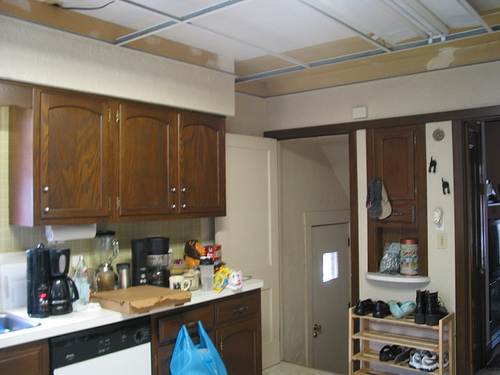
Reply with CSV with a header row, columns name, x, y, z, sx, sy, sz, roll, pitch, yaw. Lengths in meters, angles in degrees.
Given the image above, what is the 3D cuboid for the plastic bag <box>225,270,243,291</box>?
name,x,y,z,sx,sy,sz,roll,pitch,yaw
plastic bag,-0.148,0.819,3.392,0.150,0.164,0.067,19,-12,-16

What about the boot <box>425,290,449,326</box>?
name,x,y,z,sx,sy,sz,roll,pitch,yaw
boot,1.745,1.087,3.556,0.381,0.279,0.136,1,-2,-36

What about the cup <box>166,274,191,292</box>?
name,x,y,z,sx,sy,sz,roll,pitch,yaw
cup,-0.623,0.802,3.262,0.168,0.159,0.118,-1,-5,17

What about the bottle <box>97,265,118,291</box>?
name,x,y,z,sx,sy,sz,roll,pitch,yaw
bottle,-1.151,0.724,3.080,0.124,0.203,0.190,-6,-12,22

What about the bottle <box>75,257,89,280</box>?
name,x,y,z,sx,sy,sz,roll,pitch,yaw
bottle,-1.272,0.612,2.911,0.089,0.171,0.079,-4,-2,30

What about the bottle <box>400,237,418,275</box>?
name,x,y,z,sx,sy,sz,roll,pitch,yaw
bottle,1.580,0.690,3.808,0.169,0.370,0.078,-4,-1,21

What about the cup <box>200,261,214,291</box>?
name,x,y,z,sx,sy,sz,roll,pitch,yaw
cup,-0.366,0.758,3.353,0.145,0.199,0.094,-3,-2,-27

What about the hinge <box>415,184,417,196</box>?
name,x,y,z,sx,sy,sz,roll,pitch,yaw
hinge,1.652,0.026,3.822,0.023,0.110,0.009,-3,-1,-1

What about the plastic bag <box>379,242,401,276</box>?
name,x,y,z,sx,sy,sz,roll,pitch,yaw
plastic bag,1.430,0.726,3.915,0.198,0.282,0.093,6,-21,43

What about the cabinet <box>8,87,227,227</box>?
name,x,y,z,sx,sy,sz,roll,pitch,yaw
cabinet,-1.066,-0.217,2.985,0.572,0.916,1.668,5,3,39

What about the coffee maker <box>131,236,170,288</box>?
name,x,y,z,sx,sy,sz,roll,pitch,yaw
coffee maker,-0.834,0.627,3.254,0.256,0.476,0.229,6,3,37
